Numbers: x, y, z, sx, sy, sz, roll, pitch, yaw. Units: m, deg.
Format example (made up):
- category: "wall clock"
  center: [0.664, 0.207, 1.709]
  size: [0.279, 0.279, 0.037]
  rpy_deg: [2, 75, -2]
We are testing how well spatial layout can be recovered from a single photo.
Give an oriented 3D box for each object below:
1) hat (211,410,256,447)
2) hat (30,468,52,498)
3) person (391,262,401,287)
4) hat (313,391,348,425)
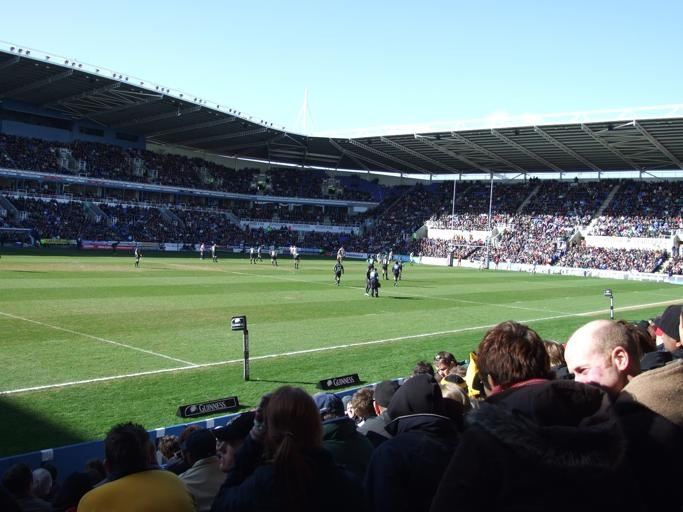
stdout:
- category: "hat"
  center: [-0.806, 1.299, 4.354]
  size: [0.274, 0.216, 0.449]
  rpy_deg: [0, -2, -8]
- category: "hat"
  center: [-2.827, 2.144, 5.479]
  size: [0.151, 0.248, 0.349]
  rpy_deg: [1, -2, -27]
- category: "person"
  center: [2.910, 0.996, 32.224]
  size: [0.584, 1.347, 0.465]
  rpy_deg: [4, 3, 8]
- category: "hat"
  center: [-0.110, 1.286, 4.965]
  size: [0.228, 0.211, 0.330]
  rpy_deg: [0, -2, -7]
